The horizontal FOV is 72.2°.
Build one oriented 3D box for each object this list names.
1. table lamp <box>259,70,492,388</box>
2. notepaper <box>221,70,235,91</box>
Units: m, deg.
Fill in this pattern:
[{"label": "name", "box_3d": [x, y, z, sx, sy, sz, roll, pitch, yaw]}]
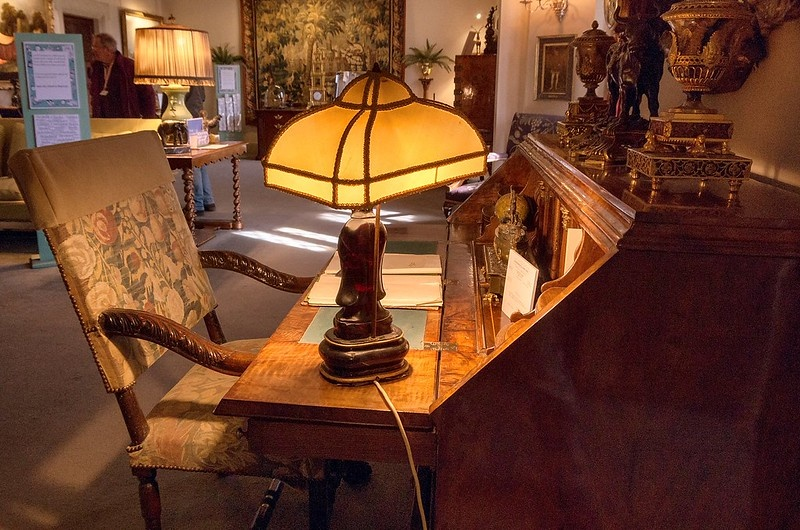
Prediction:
[{"label": "table lamp", "box_3d": [-0.046, -0.102, 1.446, 0.573, 0.797, 0.238, -6, 20, -15]}, {"label": "notepaper", "box_3d": [-3.719, -4.036, 11.903, 0.058, 0.441, 0.379, 21, 21, 34]}]
